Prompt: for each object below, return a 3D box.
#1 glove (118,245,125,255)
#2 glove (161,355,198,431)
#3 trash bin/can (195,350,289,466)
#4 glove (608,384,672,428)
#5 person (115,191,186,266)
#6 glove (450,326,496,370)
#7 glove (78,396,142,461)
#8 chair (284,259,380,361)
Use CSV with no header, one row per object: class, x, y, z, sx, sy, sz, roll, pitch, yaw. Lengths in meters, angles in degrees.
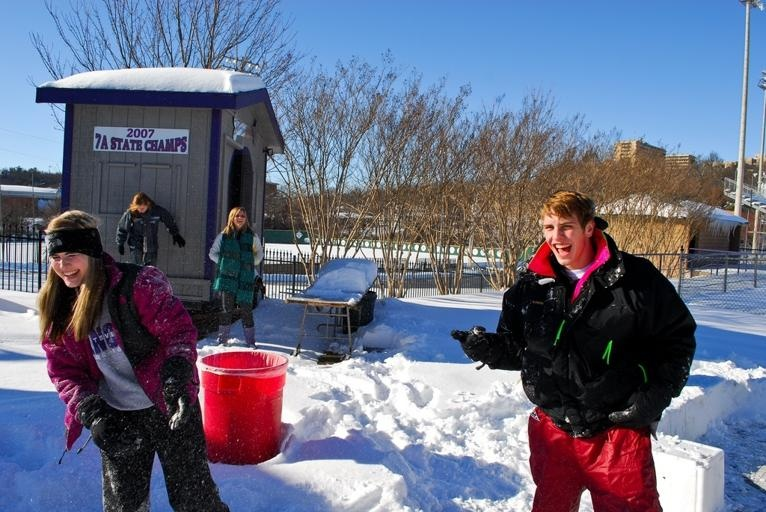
glove,-4.265,-0.103,10.176,0.055,0.157,0.115,8,32,26
glove,-1.488,0.980,4.541,0.266,0.502,0.194,-1,-4,-21
trash bin/can,-1.414,1.459,6.436,0.839,1.005,0.925,5,11,-7
glove,1.828,1.072,4.574,0.347,0.375,0.123,-18,15,20
person,-3.883,-0.295,10.416,1.034,1.842,0.492,-10,43,-29
glove,0.746,0.678,5.108,0.406,0.334,0.175,8,12,1
glove,-2.065,1.324,4.733,0.208,0.475,0.609,-35,-1,-18
chair,-0.779,0.810,10.675,1.302,1.303,2.561,1,8,-1
